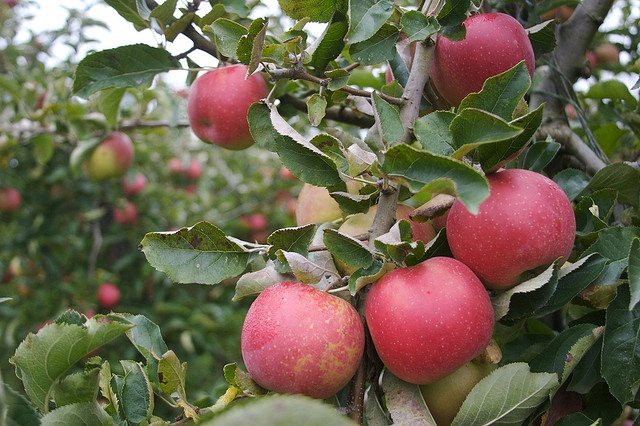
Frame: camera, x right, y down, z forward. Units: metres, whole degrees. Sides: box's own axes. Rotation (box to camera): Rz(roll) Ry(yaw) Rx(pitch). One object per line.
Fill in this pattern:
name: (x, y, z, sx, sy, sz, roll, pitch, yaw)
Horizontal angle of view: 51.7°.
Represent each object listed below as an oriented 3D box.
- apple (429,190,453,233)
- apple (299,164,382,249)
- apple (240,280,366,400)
apple: (0.345, 0.007, 1.908, 0.075, 0.109, 0.082, 0, 7, 4)
apple: (0.053, -0.011, 2.065, 0.179, 0.229, 0.172, 5, 18, -46)
apple: (-0.045, 0.338, 1.721, 0.275, 0.294, 0.288, 12, -5, -2)
